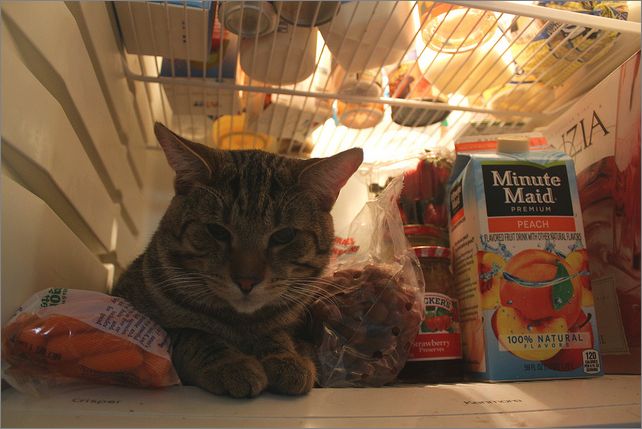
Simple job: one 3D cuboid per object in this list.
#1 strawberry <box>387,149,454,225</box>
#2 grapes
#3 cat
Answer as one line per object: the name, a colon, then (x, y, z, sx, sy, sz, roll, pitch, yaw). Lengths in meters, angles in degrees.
strawberry: (0.317, -0.079, 1.382, 0.155, 0.207, 0.056, 3, -2, 3)
grapes: (0.130, 0.296, 1.227, 0.259, 0.309, 0.098, 36, 3, 21)
cat: (-0.223, 0.098, 1.321, 0.508, 0.523, 0.719, 4, 3, -13)
